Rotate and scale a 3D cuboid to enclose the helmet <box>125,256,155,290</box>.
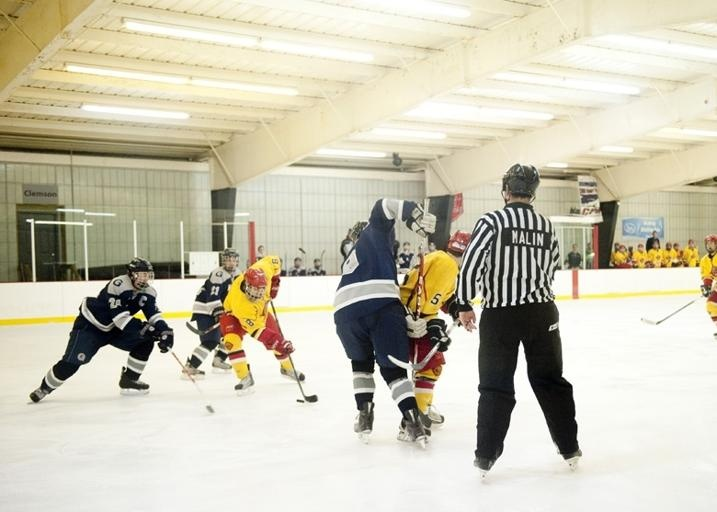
[{"bbox_3d":[-1.924,0.142,5.593,0.269,0.279,0.249,11,4,6],"label":"helmet"}]

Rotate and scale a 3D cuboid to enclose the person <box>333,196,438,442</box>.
[{"bbox_3d":[0.174,0.433,4.302,0.709,1.623,0.359,0,4,12],"label":"person"}]

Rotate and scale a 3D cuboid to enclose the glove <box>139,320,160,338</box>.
[{"bbox_3d":[-1.814,0.625,5.505,0.126,0.135,0.056,8,-6,5],"label":"glove"}]

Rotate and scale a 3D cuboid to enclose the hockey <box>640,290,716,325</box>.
[{"bbox_3d":[5.528,0.908,11.106,1.404,0.221,0.145,-22,14,-38],"label":"hockey"}]

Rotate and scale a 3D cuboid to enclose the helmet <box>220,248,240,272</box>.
[{"bbox_3d":[-1.358,0.043,6.677,0.203,0.261,0.248,0,-6,-20],"label":"helmet"}]

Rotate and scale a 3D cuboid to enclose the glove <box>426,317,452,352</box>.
[{"bbox_3d":[0.542,0.519,4.337,0.172,0.219,0.082,15,-25,-29],"label":"glove"}]

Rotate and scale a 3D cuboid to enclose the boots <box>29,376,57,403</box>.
[{"bbox_3d":[-2.737,1.155,5.517,0.122,0.249,0.348,41,-16,-5],"label":"boots"}]

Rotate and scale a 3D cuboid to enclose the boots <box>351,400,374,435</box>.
[{"bbox_3d":[0.044,1.120,4.424,0.103,0.203,0.292,7,-9,-7],"label":"boots"}]

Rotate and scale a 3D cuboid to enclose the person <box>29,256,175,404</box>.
[{"bbox_3d":[-2.177,0.757,5.845,1.442,1.254,0.901,-22,-18,30],"label":"person"}]

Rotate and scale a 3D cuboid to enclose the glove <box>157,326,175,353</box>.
[{"bbox_3d":[-1.683,0.752,5.575,0.150,0.091,0.197,10,-48,-30],"label":"glove"}]

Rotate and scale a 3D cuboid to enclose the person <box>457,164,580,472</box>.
[{"bbox_3d":[0.942,0.489,3.802,0.712,1.538,0.243,-1,3,-6],"label":"person"}]

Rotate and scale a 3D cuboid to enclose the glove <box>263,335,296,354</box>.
[{"bbox_3d":[-0.688,0.723,5.445,0.268,0.163,0.090,9,41,3],"label":"glove"}]

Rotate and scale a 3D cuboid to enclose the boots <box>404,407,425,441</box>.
[{"bbox_3d":[0.376,1.101,4.173,0.165,0.224,0.110,-1,3,-6],"label":"boots"}]

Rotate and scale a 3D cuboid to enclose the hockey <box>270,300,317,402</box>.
[{"bbox_3d":[-0.743,1.083,7.326,0.111,0.800,0.163,-22,-4,-32],"label":"hockey"}]

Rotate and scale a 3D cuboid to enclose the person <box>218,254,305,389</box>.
[{"bbox_3d":[-0.879,0.628,5.713,0.697,1.182,1.068,-2,3,-13],"label":"person"}]

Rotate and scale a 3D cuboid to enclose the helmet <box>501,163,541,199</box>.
[{"bbox_3d":[0.994,-0.450,3.979,0.191,0.215,0.221,5,19,-4],"label":"helmet"}]

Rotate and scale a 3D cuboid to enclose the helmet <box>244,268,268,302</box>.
[{"bbox_3d":[-0.884,0.239,5.477,0.206,0.259,0.247,3,-6,-31],"label":"helmet"}]

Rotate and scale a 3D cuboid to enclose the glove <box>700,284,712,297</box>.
[{"bbox_3d":[4.603,0.478,8.541,0.177,0.198,0.217,-3,-5,36],"label":"glove"}]

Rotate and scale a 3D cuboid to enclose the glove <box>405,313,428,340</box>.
[{"bbox_3d":[0.385,0.481,4.305,0.155,0.128,0.069,6,5,15],"label":"glove"}]

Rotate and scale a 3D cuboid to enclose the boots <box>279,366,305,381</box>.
[{"bbox_3d":[-0.617,1.103,6.026,0.112,0.147,0.327,-2,1,-41],"label":"boots"}]
